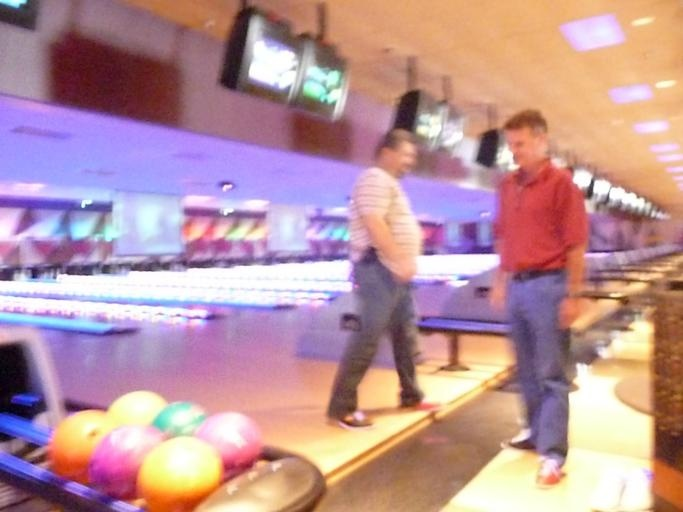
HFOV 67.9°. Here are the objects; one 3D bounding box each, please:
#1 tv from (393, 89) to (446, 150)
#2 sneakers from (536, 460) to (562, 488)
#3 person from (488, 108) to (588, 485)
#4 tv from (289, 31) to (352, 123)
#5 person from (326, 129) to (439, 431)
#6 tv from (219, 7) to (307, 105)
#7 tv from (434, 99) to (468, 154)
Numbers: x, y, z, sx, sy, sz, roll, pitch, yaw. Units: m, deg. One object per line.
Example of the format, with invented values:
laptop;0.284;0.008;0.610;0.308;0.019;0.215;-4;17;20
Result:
tv;0.744;-1.293;4.758;0.585;0.788;0.241;-18;26;-31
sneakers;0.855;0.907;2.106;0.080;0.074;0.123;2;7;43
person;0.843;0.150;2.261;0.256;1.585;0.441;-3;5;-23
tv;-0.140;-1.299;3.733;0.404;0.531;0.590;11;18;18
person;0.219;0.096;2.766;0.625;1.603;0.366;-4;6;-39
tv;-0.526;-1.337;3.425;0.508;0.530;0.297;-3;6;-35
tv;1.099;-1.317;5.175;0.129;0.442;0.483;10;2;34
